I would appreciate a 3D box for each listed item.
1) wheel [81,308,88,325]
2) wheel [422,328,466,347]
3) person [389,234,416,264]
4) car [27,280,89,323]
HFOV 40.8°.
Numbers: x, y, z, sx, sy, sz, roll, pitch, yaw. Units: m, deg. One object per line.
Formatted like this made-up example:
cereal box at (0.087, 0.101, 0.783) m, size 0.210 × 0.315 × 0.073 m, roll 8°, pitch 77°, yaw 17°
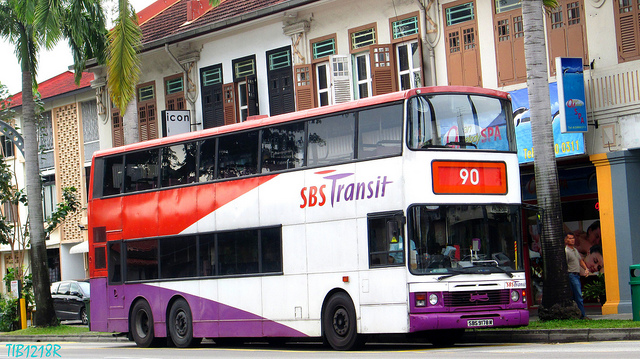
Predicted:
wheel at (-11.829, 6.975, 43.731) m, size 0.202 × 0.862 × 0.605 m, roll -6°, pitch 12°, yaw -29°
wheel at (4.250, 5.423, 29.643) m, size 0.995 × 0.577 × 1.007 m, roll -1°, pitch -7°, yaw 0°
person at (2.604, 2.299, 28.258) m, size 0.872 × 0.901 × 0.273 m, roll 1°, pitch -4°, yaw 33°
car at (-12.719, 6.378, 44.601) m, size 1.443 × 1.903 × 2.856 m, roll -10°, pitch 14°, yaw -42°
